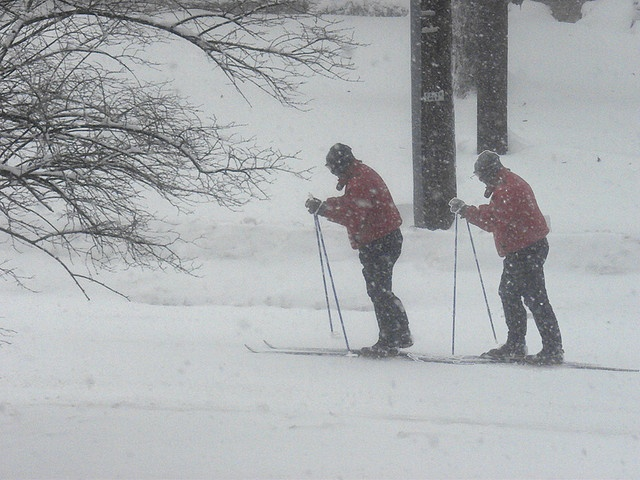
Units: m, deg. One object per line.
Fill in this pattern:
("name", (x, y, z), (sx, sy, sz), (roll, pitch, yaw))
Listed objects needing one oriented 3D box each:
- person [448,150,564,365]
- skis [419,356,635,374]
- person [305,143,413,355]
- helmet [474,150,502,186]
("person", (2.551, 0.221, 14.630), (1.293, 2.705, 0.467), (1, 4, 10))
("skis", (2.610, 1.618, 14.468), (2.710, 0.131, 0.240), (1, 4, 5))
("person", (0.628, 0.139, 14.659), (1.219, 2.743, 0.387), (1, 4, 3))
("helmet", (2.268, -0.983, 14.865), (0.467, 0.390, 0.367), (13, 21, 22))
